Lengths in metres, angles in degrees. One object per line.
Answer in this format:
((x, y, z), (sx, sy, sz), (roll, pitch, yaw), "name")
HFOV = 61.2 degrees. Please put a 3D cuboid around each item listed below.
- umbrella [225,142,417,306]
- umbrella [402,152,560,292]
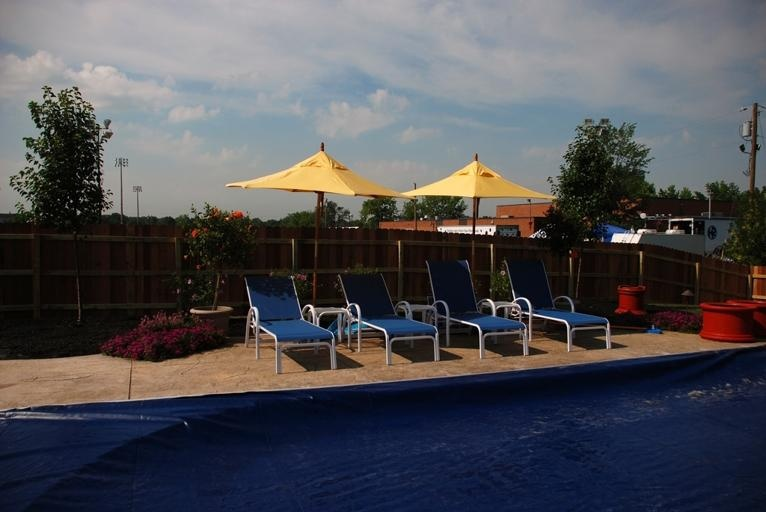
((-1.377, -0.768, 14.569), (3.578, 3.120, 3.609), (1, -2, 8), "umbrella")
((2.338, -0.908, 15.739), (3.048, 2.590, 3.069), (1, 3, 2), "umbrella")
